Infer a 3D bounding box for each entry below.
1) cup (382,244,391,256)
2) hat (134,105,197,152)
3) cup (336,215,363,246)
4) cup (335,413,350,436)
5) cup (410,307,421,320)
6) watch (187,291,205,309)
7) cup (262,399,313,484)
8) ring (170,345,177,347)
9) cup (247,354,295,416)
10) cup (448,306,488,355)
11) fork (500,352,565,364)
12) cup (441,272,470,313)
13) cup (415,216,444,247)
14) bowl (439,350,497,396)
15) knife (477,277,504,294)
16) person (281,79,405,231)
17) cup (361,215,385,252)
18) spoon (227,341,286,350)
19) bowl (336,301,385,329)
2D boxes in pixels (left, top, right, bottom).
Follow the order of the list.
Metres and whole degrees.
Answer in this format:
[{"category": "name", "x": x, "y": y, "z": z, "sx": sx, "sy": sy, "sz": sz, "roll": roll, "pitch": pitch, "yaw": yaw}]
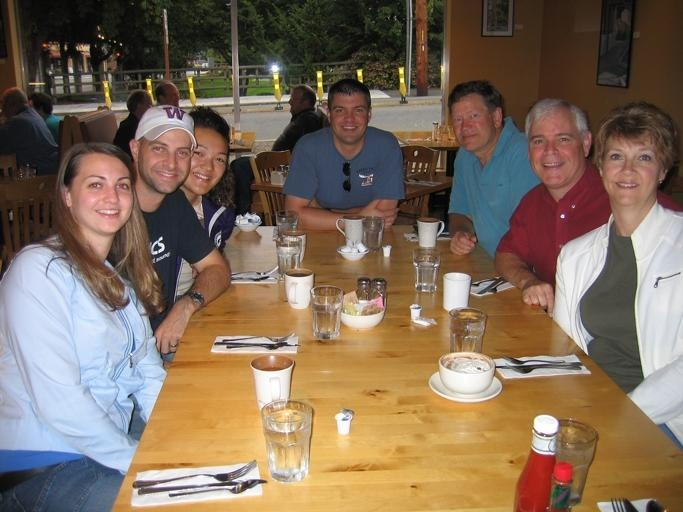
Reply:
[{"category": "cup", "x": 0.220, "y": -0.034, "z": 2.649, "sx": 0.044, "sy": 0.050, "sz": 0.041, "roll": 3, "pitch": 4, "yaw": 0}, {"category": "hat", "x": -0.742, "y": -0.537, "z": 2.355, "sx": 0.240, "sy": 0.170, "sz": 0.381, "roll": 4, "pitch": 3, "yaw": -27}, {"category": "cup", "x": 0.029, "y": -0.134, "z": 2.823, "sx": 0.188, "sy": 0.177, "sz": 0.127, "roll": 2, "pitch": 10, "yaw": 28}, {"category": "cup", "x": 0.006, "y": 0.419, "z": 1.320, "sx": 0.049, "sy": 0.038, "sz": 0.045, "roll": -2, "pitch": 8, "yaw": 0}, {"category": "cup", "x": 0.264, "y": 0.205, "z": 1.909, "sx": 0.044, "sy": 0.041, "sz": 0.043, "roll": 0, "pitch": 7, "yaw": 0}, {"category": "watch", "x": -0.553, "y": 0.164, "z": 2.035, "sx": 0.057, "sy": 0.017, "sz": 0.059, "roll": 47, "pitch": 11, "yaw": 12}, {"category": "cup", "x": -0.117, "y": 0.417, "z": 1.217, "sx": 0.153, "sy": 0.174, "sz": 0.150, "roll": 0, "pitch": 4, "yaw": 0}, {"category": "ring", "x": -0.638, "y": 0.342, "z": 2.023, "sx": 0.015, "sy": 0.004, "sz": 0.014, "roll": 1, "pitch": 7, "yaw": 0}, {"category": "cup", "x": -0.186, "y": 0.340, "z": 1.415, "sx": 0.103, "sy": 0.105, "sz": 0.149, "roll": 1, "pitch": 13, "yaw": -2}, {"category": "cup", "x": 0.387, "y": 0.231, "z": 1.694, "sx": 0.135, "sy": 0.149, "sz": 0.132, "roll": 0, "pitch": 8, "yaw": 0}, {"category": "fork", "x": 0.596, "y": 0.321, "z": 1.626, "sx": 0.238, "sy": 0.010, "sz": 0.064, "roll": 0, "pitch": 23, "yaw": -1}, {"category": "cup", "x": 0.415, "y": 0.127, "z": 2.033, "sx": 0.102, "sy": 0.136, "sz": 0.156, "roll": -1, "pitch": 7, "yaw": 8}, {"category": "cup", "x": 0.493, "y": -0.129, "z": 2.820, "sx": 0.179, "sy": 0.154, "sz": 0.119, "roll": -4, "pitch": 13, "yaw": -16}, {"category": "bowl", "x": 0.353, "y": 0.334, "z": 1.491, "sx": 0.148, "sy": 0.075, "sz": 0.150, "roll": -4, "pitch": 13, "yaw": 1}, {"category": "knife", "x": 0.628, "y": 0.109, "z": 2.208, "sx": 0.054, "sy": 0.022, "sz": 0.150, "roll": 16, "pitch": 22, "yaw": 23}, {"category": "person", "x": -0.009, "y": -0.653, "z": 3.322, "sx": 0.776, "sy": 0.897, "sz": 0.551, "roll": -2, "pitch": 15, "yaw": 5}, {"category": "cup", "x": 0.161, "y": -0.116, "z": 2.692, "sx": 0.160, "sy": 0.222, "sz": 0.157, "roll": 0, "pitch": 11, "yaw": 0}, {"category": "spoon", "x": -0.285, "y": 0.289, "z": 1.718, "sx": 0.221, "sy": 0.016, "sz": 0.061, "roll": 0, "pitch": 11, "yaw": -6}, {"category": "bowl", "x": 0.070, "y": 0.203, "z": 1.845, "sx": 0.105, "sy": 0.043, "sz": 0.104, "roll": -3, "pitch": 8, "yaw": 0}]
